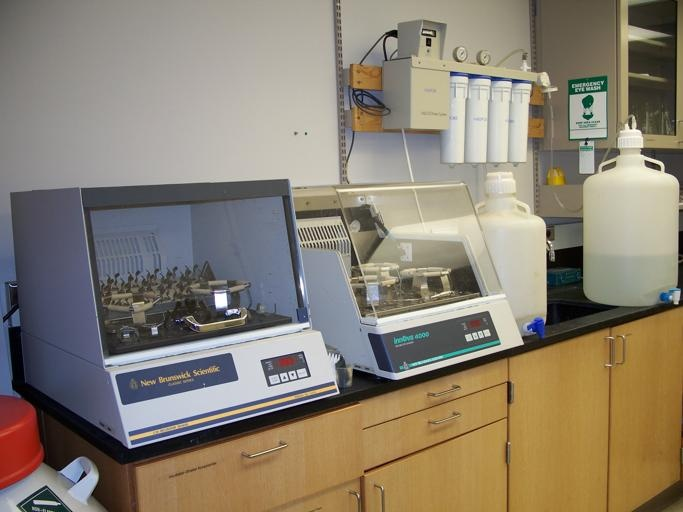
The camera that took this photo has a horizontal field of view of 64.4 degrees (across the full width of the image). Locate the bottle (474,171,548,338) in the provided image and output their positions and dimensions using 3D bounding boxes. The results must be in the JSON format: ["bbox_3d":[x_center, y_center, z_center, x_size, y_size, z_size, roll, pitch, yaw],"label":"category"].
[{"bbox_3d":[0.722,-0.037,2.282,0.268,0.616,0.331,-5,11,15],"label":"bottle"}]

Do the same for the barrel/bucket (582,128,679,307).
[{"bbox_3d":[1.395,-0.203,2.612,0.448,0.888,0.298,-5,11,17],"label":"barrel/bucket"}]

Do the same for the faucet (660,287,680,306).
[{"bbox_3d":[1.592,0.200,2.607,0.098,0.073,0.036,-3,6,-21],"label":"faucet"}]

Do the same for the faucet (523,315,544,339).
[{"bbox_3d":[0.757,0.277,2.122,0.079,0.078,0.060,9,7,40],"label":"faucet"}]
